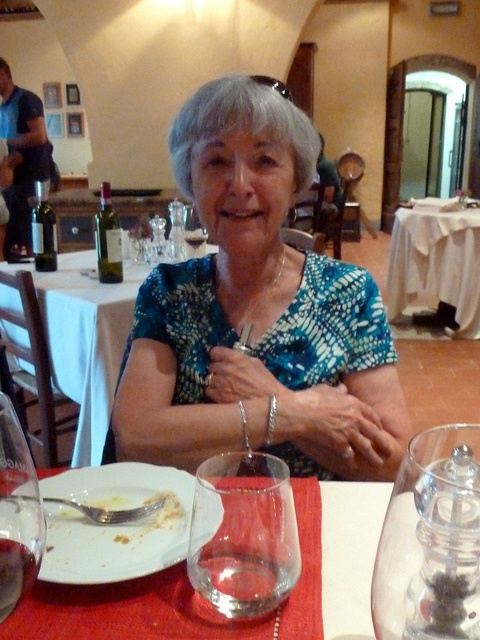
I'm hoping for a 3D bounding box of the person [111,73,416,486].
[{"bbox_3d":[0.034,-0.109,1.102,0.624,0.851,0.474,-1,13,-3],"label":"person"}]

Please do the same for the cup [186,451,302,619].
[{"bbox_3d":[0.007,0.181,0.480,0.119,0.164,0.132,-1,9,-3],"label":"cup"}]

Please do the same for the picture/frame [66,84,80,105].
[{"bbox_3d":[-3.233,-4.384,9.661,0.337,0.380,0.149,5,14,24],"label":"picture/frame"}]

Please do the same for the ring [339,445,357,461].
[{"bbox_3d":[0.210,0.262,0.972,0.032,0.031,0.009,-38,41,-12],"label":"ring"}]

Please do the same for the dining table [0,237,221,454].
[{"bbox_3d":[-0.669,0.061,1.990,0.662,0.459,0.893,9,18,23],"label":"dining table"}]

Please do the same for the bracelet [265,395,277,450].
[{"bbox_3d":[0.060,0.198,0.964,0.020,0.094,0.030,1,13,4],"label":"bracelet"}]

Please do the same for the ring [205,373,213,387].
[{"bbox_3d":[-0.068,0.132,1.087,0.009,0.025,0.023,14,30,27],"label":"ring"}]

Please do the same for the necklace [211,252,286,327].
[{"bbox_3d":[0.032,-0.045,1.164,0.115,0.209,0.050,-5,-4,15],"label":"necklace"}]
